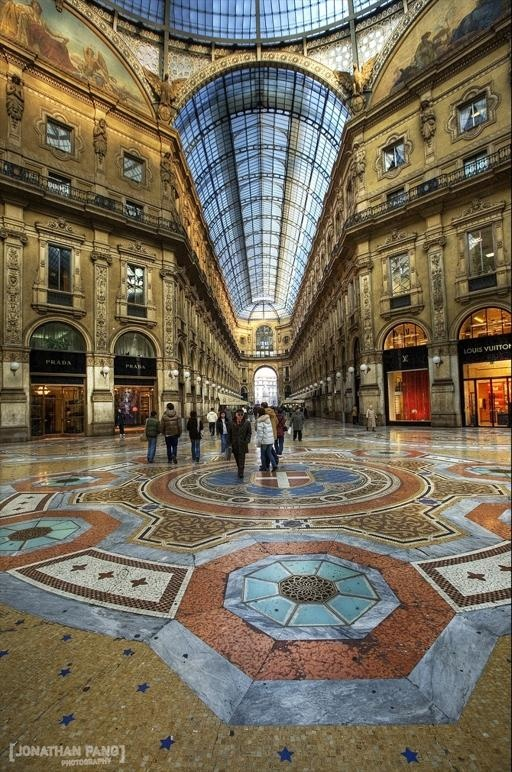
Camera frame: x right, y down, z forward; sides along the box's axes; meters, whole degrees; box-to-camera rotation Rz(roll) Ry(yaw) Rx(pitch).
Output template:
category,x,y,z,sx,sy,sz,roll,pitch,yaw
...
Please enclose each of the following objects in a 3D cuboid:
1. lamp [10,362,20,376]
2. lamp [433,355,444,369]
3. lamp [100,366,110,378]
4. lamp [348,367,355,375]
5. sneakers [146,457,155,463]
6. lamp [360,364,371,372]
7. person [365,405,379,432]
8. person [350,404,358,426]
category,x,y,z,sx,sy,sz,roll,pitch,yaw
lamp,-8.647,-0.644,16.259,0.299,0.482,0.401,0,-2,-33
lamp,7.691,-1.012,19.315,0.480,0.509,0.390,-2,-2,40
lamp,-6.474,-0.627,19.369,0.294,0.626,0.413,2,2,-26
lamp,5.303,-0.879,25.191,0.310,0.454,0.338,-13,0,-13
sneakers,-2.342,1.614,10.019,0.133,0.128,0.201,4,-10,6
lamp,5.259,-0.857,22.110,0.512,0.482,0.444,0,-2,-30
person,4.812,1.345,19.048,0.307,0.989,1.531,-1,-2,11
person,5.157,1.498,23.675,0.209,0.962,1.630,-1,-2,14
